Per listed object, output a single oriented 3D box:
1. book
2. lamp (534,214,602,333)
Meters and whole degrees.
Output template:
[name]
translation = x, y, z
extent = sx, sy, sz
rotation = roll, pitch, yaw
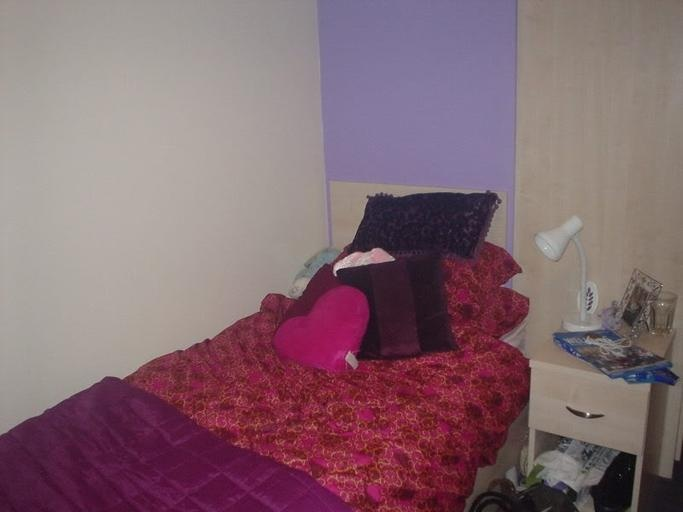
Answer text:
[book]
translation = 1.161, 0.418, 2.395
extent = 0.298, 0.067, 0.301
rotation = -3, 21, -17
[lamp]
translation = 1.070, 0.067, 2.612
extent = 0.293, 0.554, 0.400
rotation = 6, 18, 27
